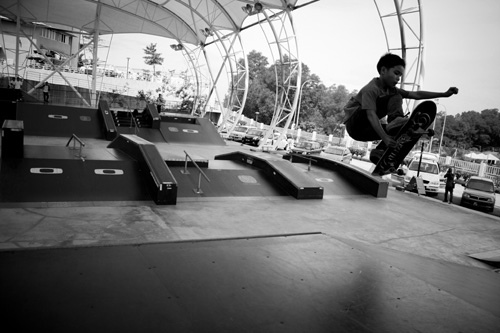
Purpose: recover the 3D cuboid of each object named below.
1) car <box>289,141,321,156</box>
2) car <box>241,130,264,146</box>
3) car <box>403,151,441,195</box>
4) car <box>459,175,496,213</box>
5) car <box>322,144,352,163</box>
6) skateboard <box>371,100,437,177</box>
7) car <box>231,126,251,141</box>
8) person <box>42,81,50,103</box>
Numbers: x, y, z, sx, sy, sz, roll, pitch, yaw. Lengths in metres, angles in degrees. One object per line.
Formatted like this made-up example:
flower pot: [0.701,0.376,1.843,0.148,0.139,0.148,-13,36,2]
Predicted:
car: [4.890,-1.714,25.789,2.073,1.021,2.542,9,8,39]
car: [0.290,-3.159,30.994,1.406,1.194,2.358,6,2,23]
car: [11.750,0.212,20.451,2.153,2.301,4.340,11,19,21]
car: [12.209,1.361,15.986,1.411,1.348,2.898,5,-6,35]
car: [7.261,-1.112,24.046,1.153,0.830,2.574,9,0,29]
skateboard: [2.365,-0.303,5.028,0.474,1.900,0.265,8,47,-18]
car: [-0.974,-3.765,33.025,1.256,1.050,2.156,3,8,18]
person: [-16.453,-6.059,24.166,0.357,1.555,1.469,-1,8,-35]
